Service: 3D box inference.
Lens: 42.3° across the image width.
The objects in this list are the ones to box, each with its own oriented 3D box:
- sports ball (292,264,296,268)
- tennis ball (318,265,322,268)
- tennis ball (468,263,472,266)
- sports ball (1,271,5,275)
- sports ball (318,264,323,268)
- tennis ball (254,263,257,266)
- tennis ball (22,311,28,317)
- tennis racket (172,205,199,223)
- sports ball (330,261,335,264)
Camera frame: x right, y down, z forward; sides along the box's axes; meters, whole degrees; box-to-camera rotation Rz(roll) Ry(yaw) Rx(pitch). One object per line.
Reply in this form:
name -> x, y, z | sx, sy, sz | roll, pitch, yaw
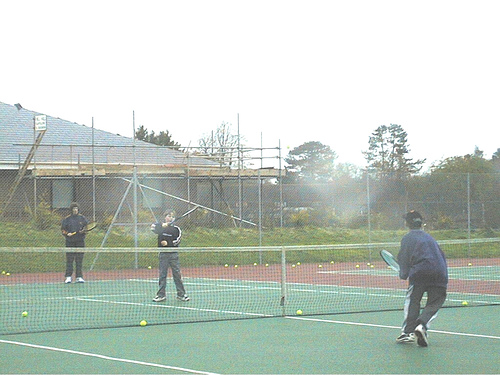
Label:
sports ball -> 1.378, 2.527, 20.765 | 0.143, 0.085, 0.144 | 0, -1, 0
tennis ball -> 2.254, 2.553, 20.898 | 0.118, 0.075, 0.134 | -3, 3, -29
tennis ball -> 7.287, 2.566, 21.478 | 0.100, 0.059, 0.099 | 0, -6, 0
sports ball -> -7.265, 2.497, 18.948 | 0.119, 0.077, 0.139 | -1, -6, 11
sports ball -> 2.297, 2.583, 21.317 | 0.161, 0.090, 0.141 | 0, 1, 25
tennis ball -> 0.166, 2.551, 21.550 | 0.117, 0.061, 0.117 | -1, 0, 0
tennis ball -> -4.330, 2.425, 12.371 | 0.100, 0.073, 0.101 | 0, 1, 0
tennis racket -> -2.708, 1.128, 26.917 | 0.230, 0.256, 2.427 | 26, -21, -12
sports ball -> 2.812, 2.549, 22.032 | 0.176, 0.099, 0.154 | 1, 2, 40
